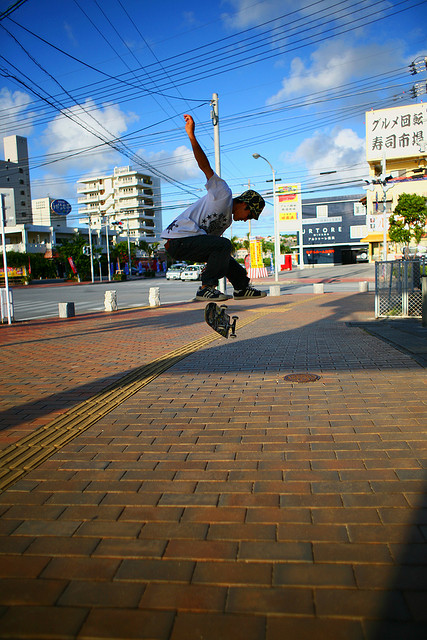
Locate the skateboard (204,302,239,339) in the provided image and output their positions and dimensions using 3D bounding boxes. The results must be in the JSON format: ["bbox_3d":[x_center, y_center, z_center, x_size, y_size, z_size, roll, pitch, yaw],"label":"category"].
[{"bbox_3d":[0.035,-0.041,5.059,0.265,0.202,0.524,4,-19,29],"label":"skateboard"}]

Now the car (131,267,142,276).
[{"bbox_3d":[-13.464,-8.547,77.473,1.380,0.628,2.087,1,-5,30],"label":"car"}]

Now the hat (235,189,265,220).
[{"bbox_3d":[0.417,-1.209,4.609,0.267,0.349,0.254,1,6,44],"label":"hat"}]
